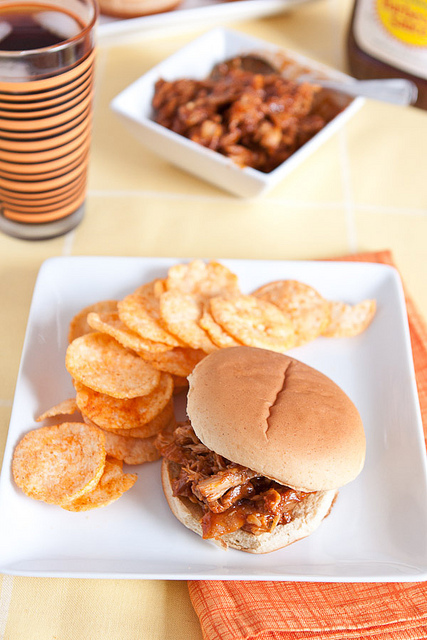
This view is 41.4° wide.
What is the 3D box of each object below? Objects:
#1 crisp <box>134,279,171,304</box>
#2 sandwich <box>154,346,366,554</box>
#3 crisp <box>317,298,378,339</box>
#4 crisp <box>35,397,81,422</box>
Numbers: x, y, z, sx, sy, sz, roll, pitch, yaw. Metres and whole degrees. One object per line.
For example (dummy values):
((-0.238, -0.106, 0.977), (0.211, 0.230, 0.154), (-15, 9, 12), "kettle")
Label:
((-0.133, -0.068, 1.251), (0.066, 0.007, 0.060), (-3, 31, 14), "crisp")
((0.083, 0.228, 1.042), (0.363, 0.218, 0.352), (15, 32, 24), "sandwich")
((0.323, -0.017, 1.356), (0.110, 0.093, 0.154), (6, 12, 32), "crisp")
((-0.313, 0.174, 1.104), (0.061, 0.021, 0.043), (-15, 43, -27), "crisp")
